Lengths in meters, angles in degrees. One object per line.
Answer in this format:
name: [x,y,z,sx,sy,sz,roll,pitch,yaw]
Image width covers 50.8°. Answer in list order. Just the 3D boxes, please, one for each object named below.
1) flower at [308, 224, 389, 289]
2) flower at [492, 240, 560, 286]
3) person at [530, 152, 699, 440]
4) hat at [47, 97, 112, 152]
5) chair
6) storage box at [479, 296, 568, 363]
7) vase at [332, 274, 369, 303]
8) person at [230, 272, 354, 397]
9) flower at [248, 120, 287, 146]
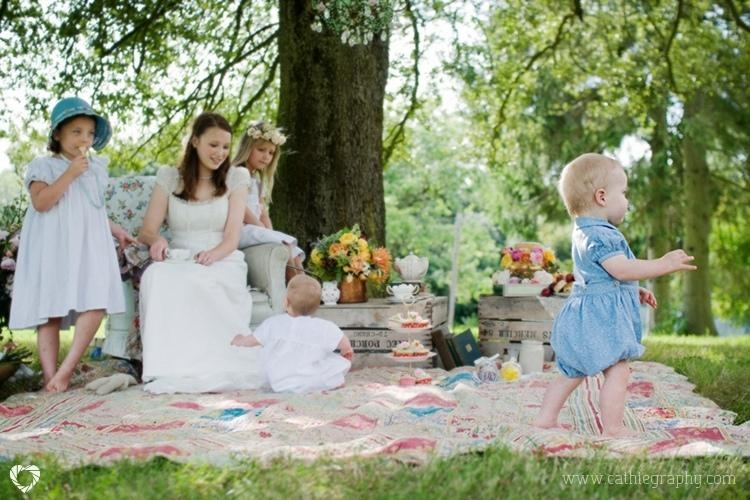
flower: [-0.251,0.111,8.334,0.691,0.513,0.696,8,-6,17]
flower: [1.630,0.156,8.650,0.528,0.352,0.523,1,-4,-5]
person: [1.758,0.322,6.153,1.049,2.230,0.408,-4,-1,19]
hat: [-2.755,-1.236,7.420,0.504,0.325,0.531,-4,-28,-10]
chair: [-1.674,0.180,8.396,1.971,2.185,1.821,4,-7,-24]
storage box: [1.573,0.847,8.664,0.947,0.612,0.563,-1,6,4]
vase: [-0.226,0.408,8.257,0.266,0.208,0.262,3,-10,-20]
person: [-0.821,0.820,7.317,0.967,0.915,0.499,1,21,-3]
flower: [-1.188,-1.236,8.429,0.297,0.126,0.294,15,-1,-12]
